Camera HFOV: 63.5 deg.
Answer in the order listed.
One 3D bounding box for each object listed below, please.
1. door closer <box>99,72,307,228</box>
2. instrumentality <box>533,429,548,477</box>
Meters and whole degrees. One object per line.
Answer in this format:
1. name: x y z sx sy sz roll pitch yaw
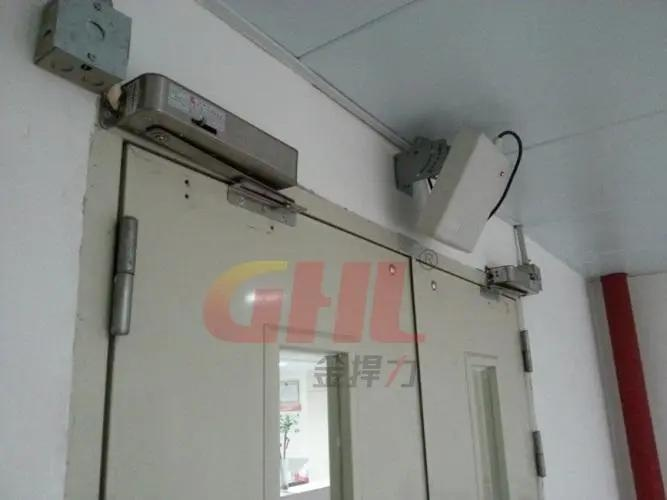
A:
1. door closer: -0.272 -0.232 1.320 0.572 0.207 0.115 16 -25 -43
2. instrumentality: 0.913 0.900 2.381 0.036 0.189 0.040 -13 -24 32
